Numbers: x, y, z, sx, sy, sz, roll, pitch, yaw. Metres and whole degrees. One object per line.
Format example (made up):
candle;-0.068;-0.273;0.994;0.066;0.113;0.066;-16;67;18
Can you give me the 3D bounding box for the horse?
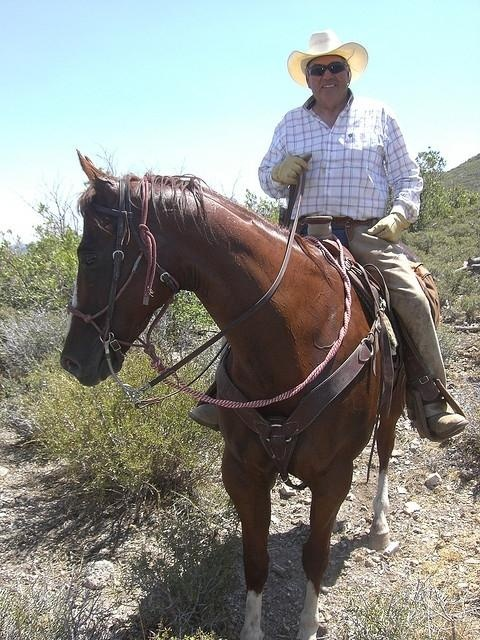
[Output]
horse;0.063;0.523;2.448;1.558;2.400;0.510;-4;5;-32
